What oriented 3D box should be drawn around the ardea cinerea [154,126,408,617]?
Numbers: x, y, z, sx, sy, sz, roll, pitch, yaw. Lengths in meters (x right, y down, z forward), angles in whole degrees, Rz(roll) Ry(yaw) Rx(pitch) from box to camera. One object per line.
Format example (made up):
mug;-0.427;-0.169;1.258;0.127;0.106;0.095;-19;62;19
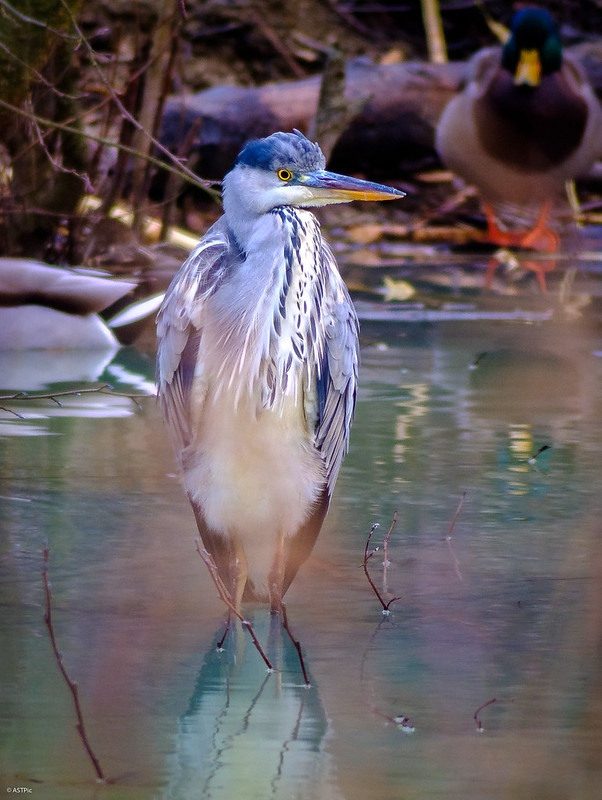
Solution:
ardea cinerea;-0.085;-0.041;2.971;0.616;1.398;0.422;3;13;-10
